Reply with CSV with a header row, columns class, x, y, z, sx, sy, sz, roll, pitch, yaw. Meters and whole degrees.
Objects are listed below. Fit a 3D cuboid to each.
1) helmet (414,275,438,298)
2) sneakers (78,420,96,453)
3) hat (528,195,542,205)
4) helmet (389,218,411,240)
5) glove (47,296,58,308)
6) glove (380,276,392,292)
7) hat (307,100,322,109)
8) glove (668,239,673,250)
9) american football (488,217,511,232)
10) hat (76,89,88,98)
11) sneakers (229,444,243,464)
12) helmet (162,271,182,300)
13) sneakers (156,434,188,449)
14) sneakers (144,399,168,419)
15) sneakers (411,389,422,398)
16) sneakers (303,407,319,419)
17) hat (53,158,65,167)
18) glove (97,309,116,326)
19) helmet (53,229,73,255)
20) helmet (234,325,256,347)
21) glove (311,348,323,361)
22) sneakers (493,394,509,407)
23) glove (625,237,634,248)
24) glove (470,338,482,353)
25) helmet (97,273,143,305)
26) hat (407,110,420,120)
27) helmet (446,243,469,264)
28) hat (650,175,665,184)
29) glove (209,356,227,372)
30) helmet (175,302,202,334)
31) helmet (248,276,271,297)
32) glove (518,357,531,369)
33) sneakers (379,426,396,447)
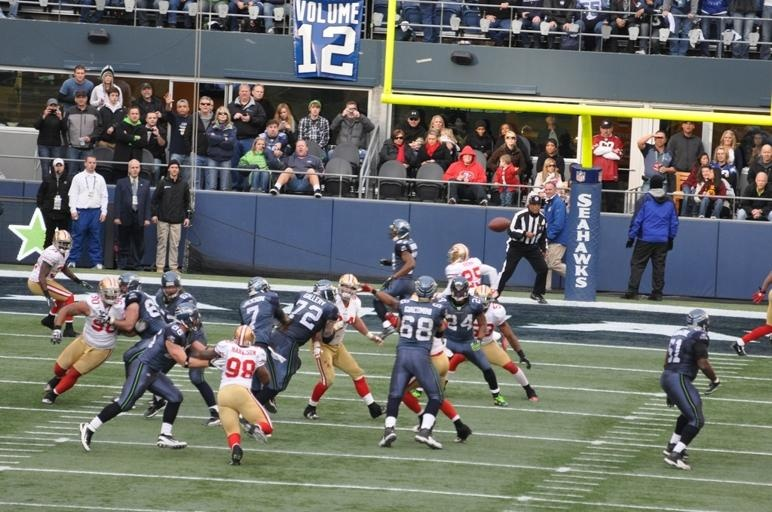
class,x,y,z,sx,sy,sz,roll,pitch,yaw
helmet,0.568,0.444,19.258,0.259,0.278,0.311,5,36,2
sneakers,-4.066,2.421,18.655,0.229,0.459,0.157,-16,0,3
hat,2.712,-1.055,24.950,0.211,0.180,0.151,1,6,-9
helmet,0.252,-0.513,22.465,0.354,0.323,0.280,11,46,5
glove,-5.473,0.738,22.536,0.120,0.153,0.152,-6,28,-3
glove,0.029,0.454,23.006,0.112,0.238,0.437,1,6,-7
hat,-1.419,-3.137,27.853,0.242,0.292,0.318,1,0,-9
glove,5.447,-0.261,26.188,0.080,0.224,0.551,4,6,16
american football,2.097,-0.595,25.155,0.356,0.231,0.274,3,6,10
hat,-5.967,-3.198,26.853,0.204,0.131,0.249,0,4,-10
sneakers,-2.005,2.633,18.341,0.188,0.259,0.272,4,-21,-14
helmet,-3.090,0.343,19.850,0.282,0.348,0.377,-3,26,-7
sneakers,-2.921,2.509,18.855,0.456,0.214,0.172,3,14,-6
sneakers,-3.357,2.166,19.926,0.288,0.293,0.545,1,6,-10
sneakers,0.472,2.031,20.681,0.088,0.103,0.241,16,-21,20
sneakers,-1.044,2.262,19.981,0.288,0.215,0.107,2,1,9
hat,-6.356,-1.843,26.596,0.139,0.113,0.175,-2,-27,-13
glove,-3.963,0.857,19.621,0.254,0.189,0.116,12,37,35
helmet,-5.242,-0.249,22.189,0.259,0.374,0.427,0,6,-18
helmet,-1.900,1.061,18.496,0.231,0.230,0.287,6,24,4
glove,-0.978,1.378,19.732,0.134,0.134,0.157,2,-4,-1
sneakers,1.750,2.134,20.812,0.212,0.197,0.378,2,6,4
glove,4.611,-0.258,25.840,0.146,0.052,0.196,27,57,28
glove,1.315,1.274,20.066,0.187,0.112,0.249,5,-9,0
helmet,-3.793,0.448,19.518,0.571,0.408,0.375,-1,6,-24
hat,0.493,-2.912,28.017,0.264,0.180,0.420,4,4,-2
helmet,1.174,-0.094,21.403,0.277,0.323,0.328,14,-16,-42
hat,5.227,-1.470,26.420,0.243,0.213,0.270,4,6,16
glove,-2.279,1.405,18.445,0.139,0.156,0.345,-1,6,-25
helmet,-2.720,0.844,18.872,0.346,0.413,0.431,1,6,-9
helmet,-1.851,0.450,19.835,0.247,0.273,0.307,-22,-32,15
glove,2.211,1.699,21.734,0.072,0.241,0.149,-17,32,4
sneakers,0.022,2.503,18.987,0.149,0.201,0.417,23,-33,-4
